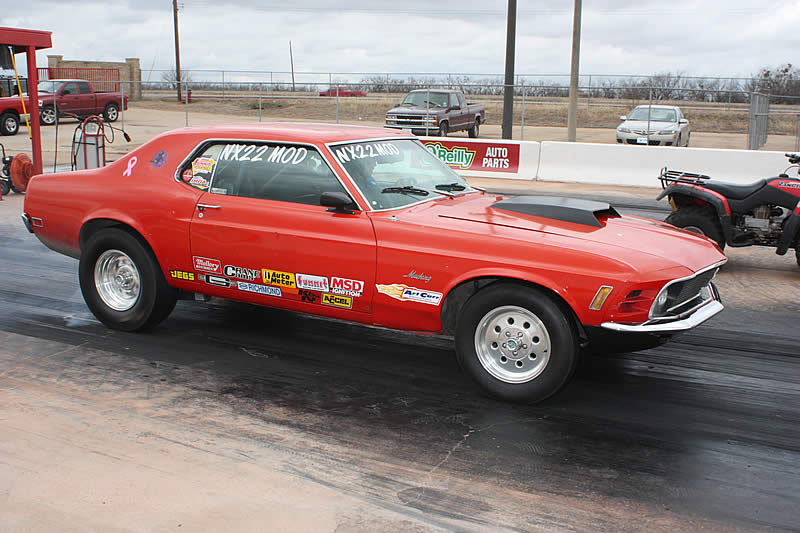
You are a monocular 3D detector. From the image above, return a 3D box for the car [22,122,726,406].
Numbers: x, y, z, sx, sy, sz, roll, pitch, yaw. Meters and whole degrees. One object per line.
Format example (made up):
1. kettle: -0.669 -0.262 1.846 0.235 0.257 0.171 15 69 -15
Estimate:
1. car: -0.408 -0.211 5.605 6.442 2.536 1.220 4 16 20
